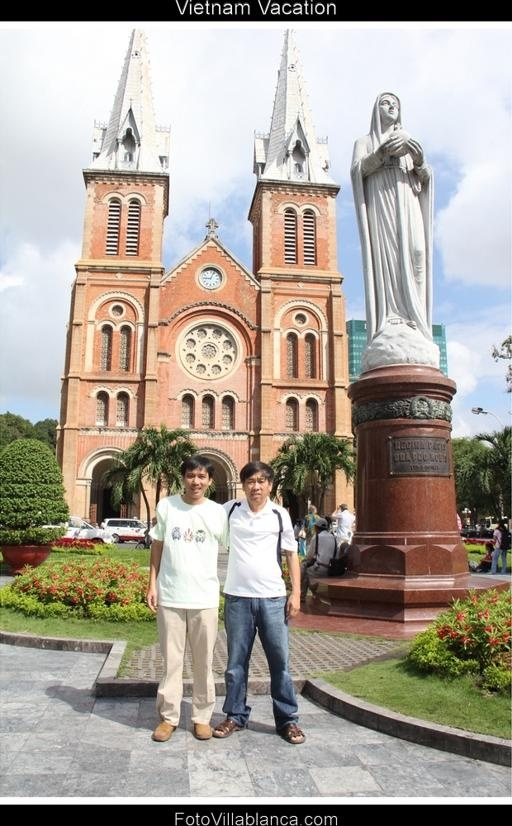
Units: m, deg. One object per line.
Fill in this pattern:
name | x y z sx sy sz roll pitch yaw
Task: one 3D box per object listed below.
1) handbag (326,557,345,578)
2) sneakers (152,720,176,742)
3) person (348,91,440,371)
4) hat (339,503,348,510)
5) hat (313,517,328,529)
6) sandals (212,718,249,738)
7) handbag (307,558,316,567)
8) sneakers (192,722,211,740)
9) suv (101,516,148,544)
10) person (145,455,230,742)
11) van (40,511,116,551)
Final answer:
handbag | 1.090 2.135 8.571 0.204 0.241 0.099 3 -1 -5
sneakers | -0.524 1.807 3.525 0.113 0.082 0.104 2 -9 -11
person | 1.967 -2.607 8.973 1.162 4.194 0.907 -1 -8 11
hat | 1.600 1.730 11.510 0.151 0.071 0.176 2 -1 -15
hat | 0.968 1.660 9.370 0.135 0.118 0.190 1 -3 -7
sandals | -0.146 1.846 3.641 0.073 0.088 0.211 -22 -38 39
handbag | 0.822 2.251 9.343 0.139 0.192 0.099 1 0 2
sneakers | -0.309 1.838 3.617 0.108 0.080 0.181 2 -9 -10
suv | -6.408 5.757 30.697 2.107 1.106 1.293 -3 -5 -10
person | -0.414 1.082 3.783 0.474 1.629 0.364 2 -8 -10
van | -6.683 4.734 25.050 1.750 1.005 5.647 3 -9 -14
